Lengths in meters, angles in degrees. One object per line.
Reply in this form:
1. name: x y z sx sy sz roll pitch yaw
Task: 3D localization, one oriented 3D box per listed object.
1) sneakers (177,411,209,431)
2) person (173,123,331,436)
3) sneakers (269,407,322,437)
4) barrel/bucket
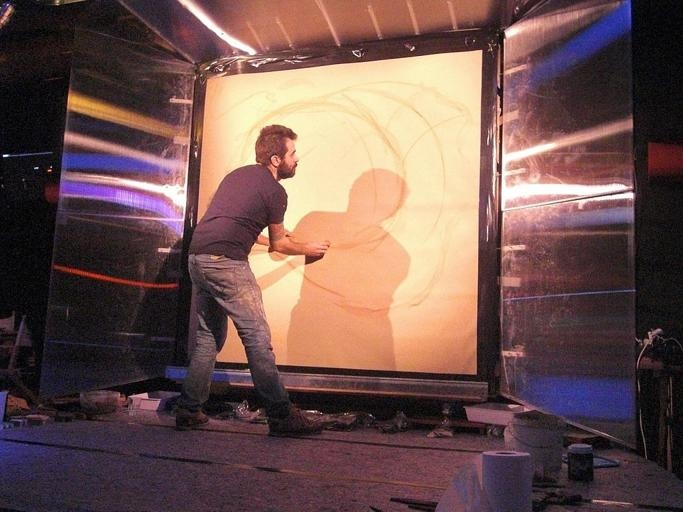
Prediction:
1. sneakers: -0.917 1.000 3.512 0.085 0.085 0.197 0 0 41
2. person: -0.556 0.064 3.678 0.848 2.010 0.765 4 -5 -30
3. sneakers: -0.282 1.005 3.462 0.357 0.151 0.134 0 -6 -10
4. barrel/bucket: 0.925 0.886 2.754 0.258 0.239 0.281 -3 -1 0
